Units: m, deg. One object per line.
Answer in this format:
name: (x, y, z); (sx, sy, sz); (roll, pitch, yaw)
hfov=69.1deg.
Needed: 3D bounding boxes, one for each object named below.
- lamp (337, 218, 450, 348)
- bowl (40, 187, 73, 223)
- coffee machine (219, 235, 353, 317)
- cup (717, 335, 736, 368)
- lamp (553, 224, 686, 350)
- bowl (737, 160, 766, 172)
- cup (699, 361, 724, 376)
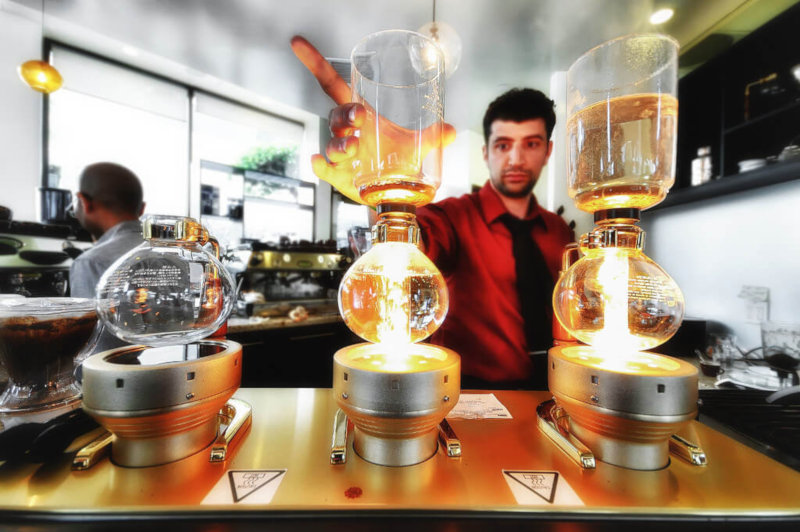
lamp: (-0.059, 0.063, 2.387); (0.488, 0.572, 0.463); (0, 1, 1)
bowl: (-2.080, -0.365, 3.547); (0.253, 0.205, 0.248); (3, 5, 0)
coffee machine: (-0.855, 0.064, 4.377); (0.885, 0.543, 0.596); (3, -12, -35)
cup: (1.849, 0.487, 3.305); (0.140, 0.141, 0.225); (2, 4, 30)
lamp: (0.775, 0.102, 2.381); (0.506, 0.569, 0.477); (1, -7, 2)
bowl: (1.955, -0.562, 3.234); (0.111, 0.062, 0.105); (-2, -3, 0)
cup: (1.695, 0.565, 3.158); (0.108, 0.067, 0.086); (1, 4, 20)
